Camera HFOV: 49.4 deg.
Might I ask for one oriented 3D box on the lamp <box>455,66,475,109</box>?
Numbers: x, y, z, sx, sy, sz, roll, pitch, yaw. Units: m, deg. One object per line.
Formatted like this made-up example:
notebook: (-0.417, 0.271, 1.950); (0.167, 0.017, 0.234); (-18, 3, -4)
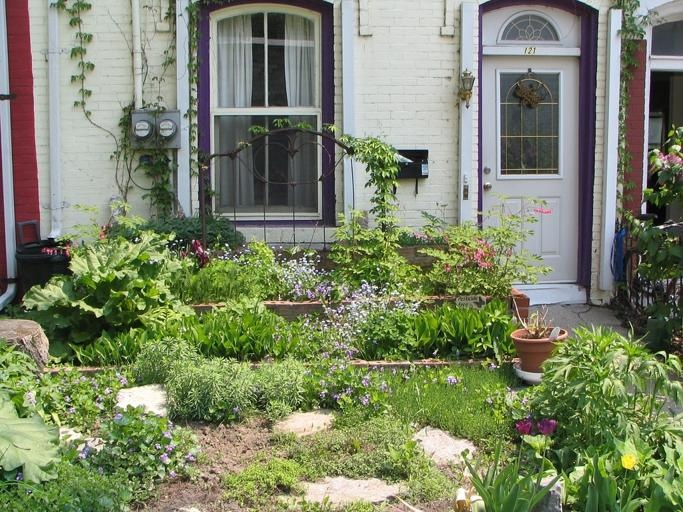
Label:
lamp: (1.423, -1.913, 8.477); (0.201, 0.443, 0.187); (1, 5, 10)

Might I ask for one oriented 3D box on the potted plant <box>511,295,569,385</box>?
potted plant: (1.619, 0.712, 6.211); (0.310, 0.666, 0.433); (7, -4, 10)
